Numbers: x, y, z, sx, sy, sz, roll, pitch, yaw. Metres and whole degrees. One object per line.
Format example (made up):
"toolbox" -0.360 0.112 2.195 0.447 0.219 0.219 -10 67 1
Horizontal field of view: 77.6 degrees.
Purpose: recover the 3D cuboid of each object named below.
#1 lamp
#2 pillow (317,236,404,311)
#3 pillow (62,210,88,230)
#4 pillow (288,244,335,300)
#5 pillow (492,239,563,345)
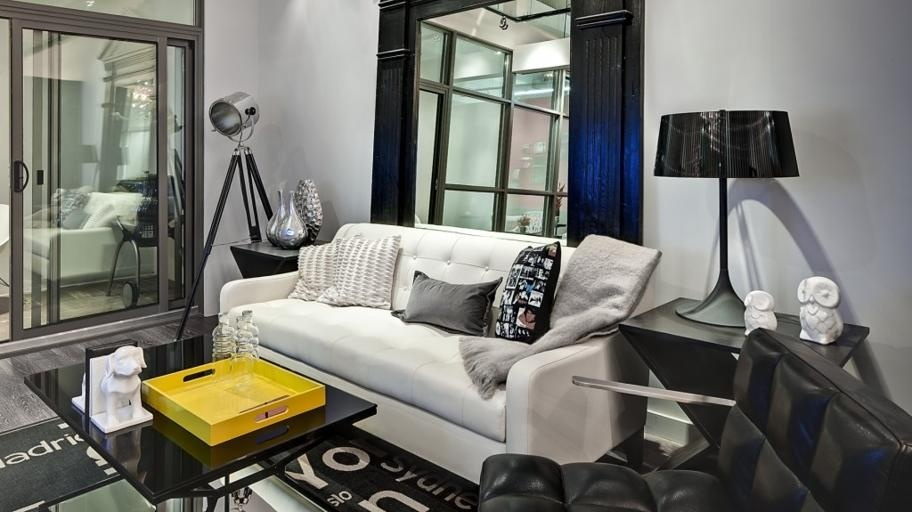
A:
"lamp" 1.621 -0.255 3.520 0.581 1.236 0.596 -9 15 -30
"pillow" -0.737 0.124 4.412 0.603 0.585 0.179 4 -12 31
"pillow" -3.534 -0.331 5.250 0.050 0.151 0.169 11 26 27
"pillow" -1.147 0.124 4.637 0.434 0.417 0.103 2 -15 28
"pillow" 0.472 0.260 3.697 0.289 0.721 0.610 18 -7 -24
